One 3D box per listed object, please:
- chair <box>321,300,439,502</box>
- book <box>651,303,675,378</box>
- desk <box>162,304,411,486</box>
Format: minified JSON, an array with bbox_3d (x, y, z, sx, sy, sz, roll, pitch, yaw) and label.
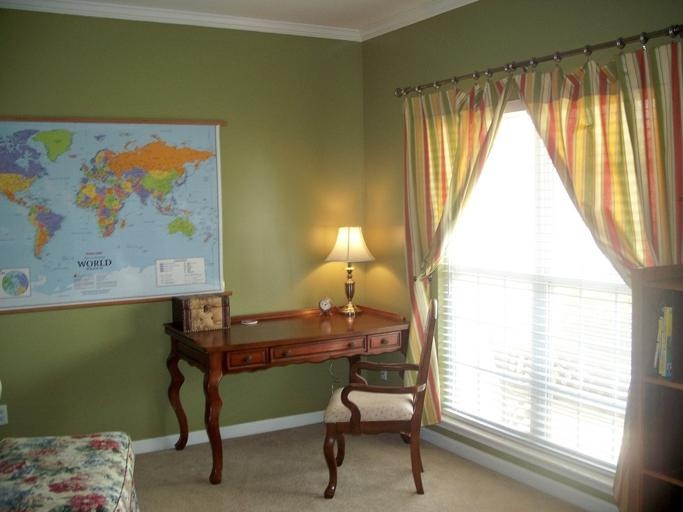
[{"bbox_3d":[0.259,0.933,3.738,0.779,1.285,0.663,-1,7,0],"label":"chair"},{"bbox_3d":[1.540,0.414,2.525,0.081,0.334,0.054,3,8,33],"label":"book"},{"bbox_3d":[-0.384,1.041,4.307,1.823,1.053,0.931,-1,3,-35],"label":"desk"}]
